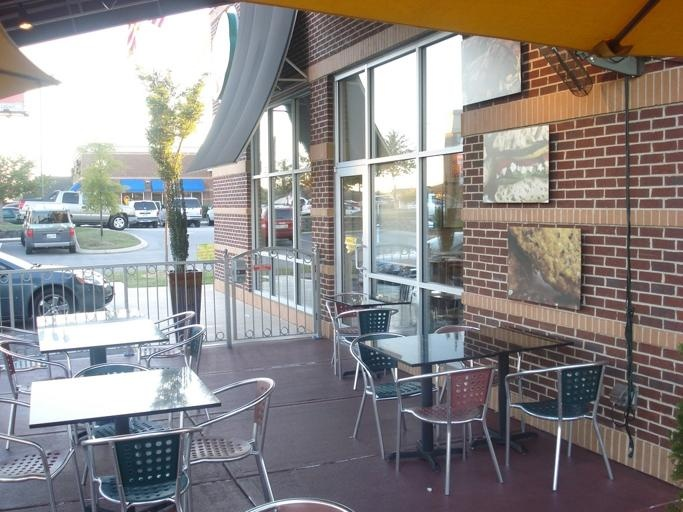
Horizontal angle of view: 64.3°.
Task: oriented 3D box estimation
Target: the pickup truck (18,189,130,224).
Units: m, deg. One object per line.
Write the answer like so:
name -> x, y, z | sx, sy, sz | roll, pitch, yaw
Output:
pickup truck -> -15.146, -2.629, 32.280 | 5.969, 2.350, 2.699 | -3, 4, -24

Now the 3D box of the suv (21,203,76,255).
suv -> -11.606, -1.076, 21.523 | 2.244, 1.585, 0.863 | 1, 6, 8
